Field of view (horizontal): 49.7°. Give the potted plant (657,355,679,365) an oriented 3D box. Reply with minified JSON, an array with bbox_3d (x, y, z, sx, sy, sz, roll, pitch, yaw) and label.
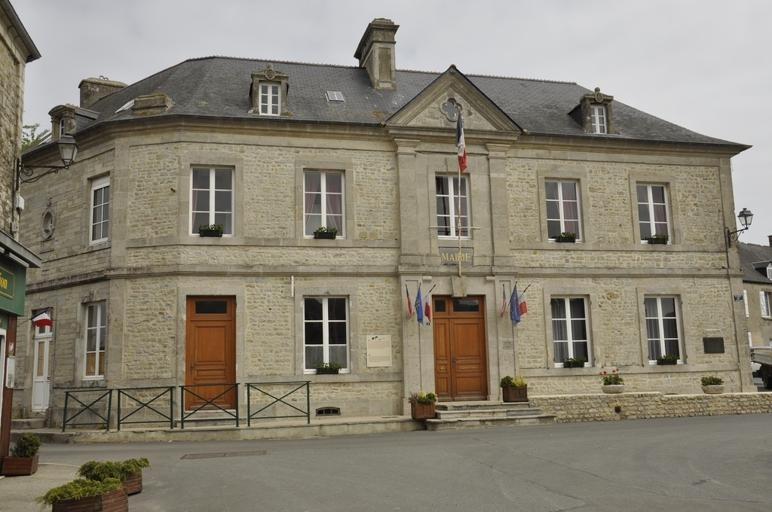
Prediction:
[{"bbox_3d":[8.117,3.023,24.087,0.377,0.200,0.339,1,-10,-1],"label":"potted plant"}]

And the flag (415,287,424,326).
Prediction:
[{"bbox_3d":[0.927,1.357,22.676,0.252,1.043,0.411,-1,1,18],"label":"flag"}]

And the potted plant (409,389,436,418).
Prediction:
[{"bbox_3d":[0.917,3.896,21.795,0.727,0.637,0.605,3,-14,-14],"label":"potted plant"}]

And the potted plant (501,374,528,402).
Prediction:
[{"bbox_3d":[3.491,3.559,22.451,0.695,0.674,0.700,3,-11,-7],"label":"potted plant"}]

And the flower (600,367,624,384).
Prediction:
[{"bbox_3d":[6.263,3.332,23.122,0.475,0.318,0.446,-5,-10,38],"label":"flower"}]

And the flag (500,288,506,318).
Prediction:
[{"bbox_3d":[3.282,1.271,23.256,0.159,0.831,0.227,-1,1,14],"label":"flag"}]

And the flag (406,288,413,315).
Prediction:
[{"bbox_3d":[0.658,1.250,22.682,0.249,0.794,0.148,-1,1,18],"label":"flag"}]

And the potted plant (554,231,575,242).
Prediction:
[{"bbox_3d":[5.171,-0.539,24.090,0.377,0.214,0.372,-4,-7,32],"label":"potted plant"}]

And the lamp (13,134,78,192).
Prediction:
[{"bbox_3d":[-7.976,-2.210,19.740,2.060,1.168,0.536,-5,-15,25],"label":"lamp"}]

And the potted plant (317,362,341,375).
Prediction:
[{"bbox_3d":[-1.523,3.023,22.216,0.466,0.210,0.333,2,-10,-13],"label":"potted plant"}]

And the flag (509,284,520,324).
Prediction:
[{"bbox_3d":[3.595,1.379,23.221,0.264,1.127,0.313,-1,1,-24],"label":"flag"}]

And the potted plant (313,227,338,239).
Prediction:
[{"bbox_3d":[-1.633,-0.609,22.701,0.480,0.193,0.316,2,-10,-7],"label":"potted plant"}]

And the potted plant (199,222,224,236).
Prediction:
[{"bbox_3d":[-4.634,-0.674,22.224,0.633,0.328,0.222,-1,1,-12],"label":"potted plant"}]

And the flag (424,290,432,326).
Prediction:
[{"bbox_3d":[1.164,1.423,22.823,0.206,0.958,0.582,-1,1,4],"label":"flag"}]

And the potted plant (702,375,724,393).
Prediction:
[{"bbox_3d":[9.185,3.643,23.616,0.543,0.382,0.467,3,-18,-11],"label":"potted plant"}]

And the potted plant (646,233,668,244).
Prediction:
[{"bbox_3d":[8.082,-0.494,24.743,0.724,0.295,0.270,-1,1,-14],"label":"potted plant"}]

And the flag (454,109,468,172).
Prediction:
[{"bbox_3d":[2.104,-3.245,23.144,0.316,1.826,1.133,-1,1,5],"label":"flag"}]
